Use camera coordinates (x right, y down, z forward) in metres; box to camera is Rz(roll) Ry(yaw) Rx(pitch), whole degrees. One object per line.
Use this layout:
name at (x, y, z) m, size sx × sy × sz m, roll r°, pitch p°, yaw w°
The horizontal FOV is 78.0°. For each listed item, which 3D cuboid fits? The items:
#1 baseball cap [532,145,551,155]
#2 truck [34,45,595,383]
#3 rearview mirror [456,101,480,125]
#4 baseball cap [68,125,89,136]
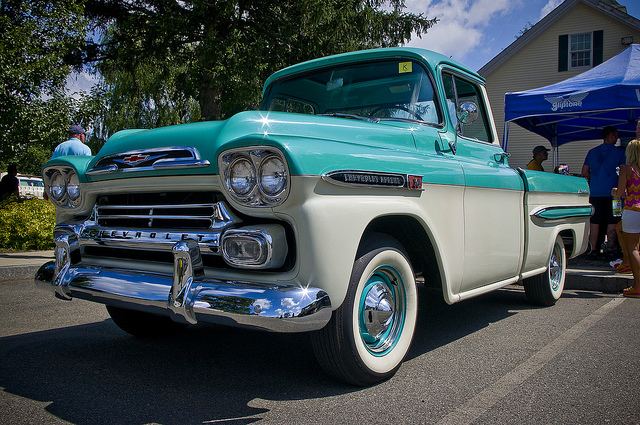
baseball cap at (5.347, -1.528, 9.503) m, size 0.479 × 0.177 × 0.295 m, roll -6°, pitch 4°, yaw -10°
truck at (0.765, -0.111, 4.636) m, size 2.863 × 2.214 × 5.414 m, roll -8°, pitch -11°, yaw 39°
rearview mirror at (1.534, -1.048, 4.143) m, size 0.233 × 0.214 × 0.203 m, roll 1°, pitch 3°, yaw 1°
baseball cap at (-4.684, -1.598, 7.671) m, size 0.190 × 0.138 × 0.276 m, roll 1°, pitch 13°, yaw 32°
